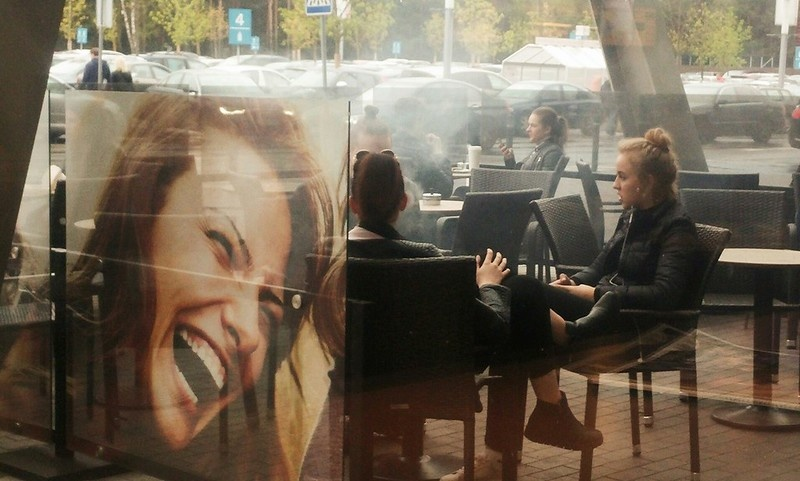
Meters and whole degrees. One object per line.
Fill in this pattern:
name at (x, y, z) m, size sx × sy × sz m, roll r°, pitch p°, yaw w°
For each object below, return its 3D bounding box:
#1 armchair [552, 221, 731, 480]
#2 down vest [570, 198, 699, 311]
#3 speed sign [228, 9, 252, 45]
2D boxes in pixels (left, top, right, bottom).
armchair at (1.717, 0.564, 5.393) m, size 1.331 × 1.783 × 1.282 m, roll 1°, pitch -1°, yaw -5°
down vest at (1.441, 0.104, 5.506) m, size 0.869 × 0.697 × 0.467 m, roll -2°, pitch 1°, yaw -37°
speed sign at (-0.950, -1.273, 5.302) m, size 0.178 × 0.220 × 0.064 m, roll 9°, pitch 9°, yaw 34°
